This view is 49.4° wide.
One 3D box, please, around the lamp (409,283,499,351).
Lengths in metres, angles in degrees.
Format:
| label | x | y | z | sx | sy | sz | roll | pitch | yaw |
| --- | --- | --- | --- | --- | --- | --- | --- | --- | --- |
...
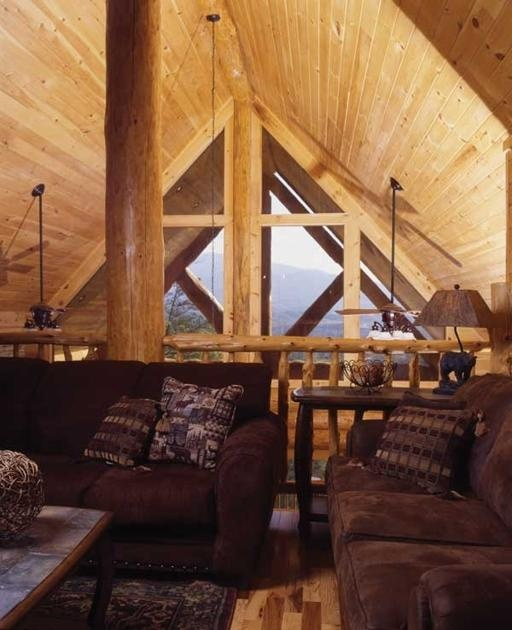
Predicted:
| label | x | y | z | sx | sy | sz | roll | pitch | yaw |
| --- | --- | --- | --- | --- | --- | --- | --- | --- | --- |
| lamp | 0.898 | 0.016 | 2.604 | 0.301 | 0.366 | 0.267 | 0 | -10 | 8 |
